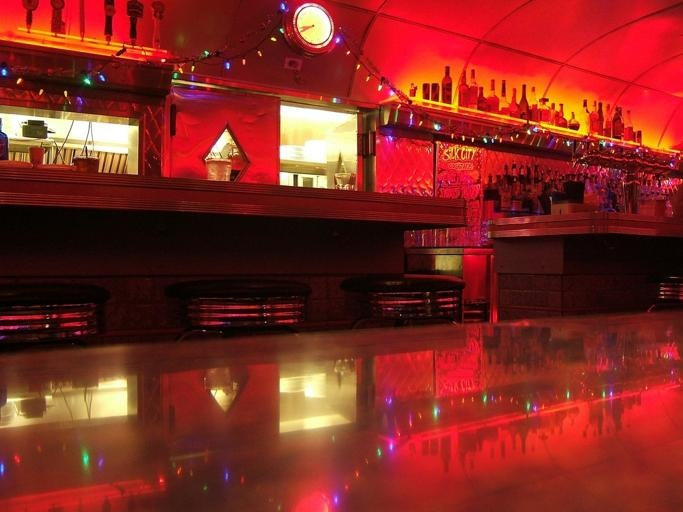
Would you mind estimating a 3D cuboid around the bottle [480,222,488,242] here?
[{"bbox_3d":[1.312,-0.226,5.330,0.064,0.194,0.195,1,1,8],"label":"bottle"}]

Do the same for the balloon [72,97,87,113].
[{"bbox_3d":[-1.736,-1.008,3.828,0.085,0.091,0.054,0,1,-22],"label":"balloon"}]

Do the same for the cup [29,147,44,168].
[{"bbox_3d":[-1.284,-0.420,2.445,0.041,0.088,0.128,0,1,-31],"label":"cup"}]

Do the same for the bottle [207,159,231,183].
[{"bbox_3d":[-0.432,-0.298,2.082,0.099,0.083,0.094,2,1,10],"label":"bottle"}]

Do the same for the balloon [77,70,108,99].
[{"bbox_3d":[-1.600,-1.128,3.768,0.173,0.180,0.120,1,6,11],"label":"balloon"}]
